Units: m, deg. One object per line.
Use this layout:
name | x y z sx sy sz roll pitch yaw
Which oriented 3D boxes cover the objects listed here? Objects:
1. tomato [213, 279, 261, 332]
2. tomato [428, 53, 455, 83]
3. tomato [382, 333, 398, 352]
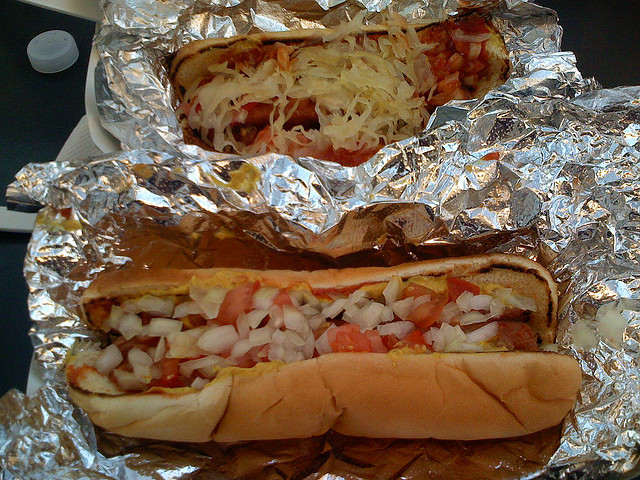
tomato | -0.458 0.291 3.267 0.086 0.287 0.231 -31 -43 22
tomato | 0.744 -1.058 3.802 0.167 0.155 0.048 -16 7 -22
tomato | 0.365 0.537 3.228 0.084 0.076 0.031 -23 -25 33
